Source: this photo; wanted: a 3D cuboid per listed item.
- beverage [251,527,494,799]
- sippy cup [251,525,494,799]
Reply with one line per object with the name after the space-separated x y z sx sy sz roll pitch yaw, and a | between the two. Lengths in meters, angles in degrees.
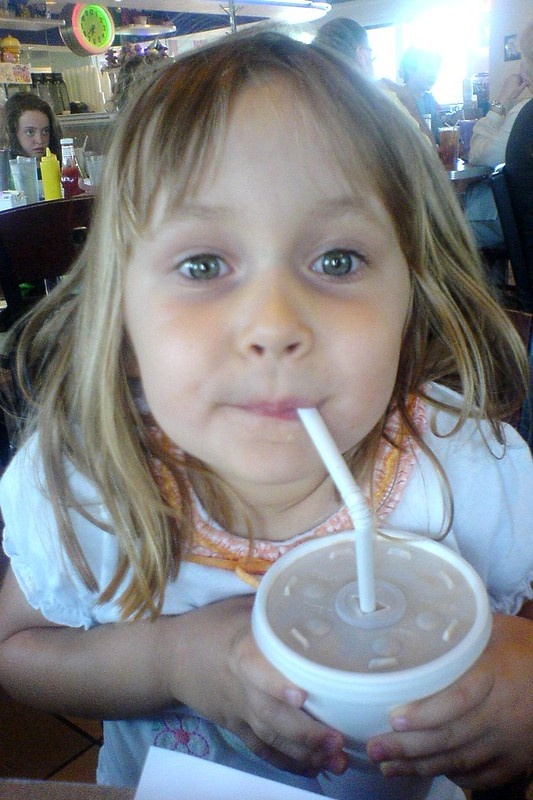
0.091 0.215 0.594 0.196 0.130 0.184 -9 28 0 | beverage
0.093 0.214 0.594 0.184 0.128 0.188 -6 27 3 | sippy cup
